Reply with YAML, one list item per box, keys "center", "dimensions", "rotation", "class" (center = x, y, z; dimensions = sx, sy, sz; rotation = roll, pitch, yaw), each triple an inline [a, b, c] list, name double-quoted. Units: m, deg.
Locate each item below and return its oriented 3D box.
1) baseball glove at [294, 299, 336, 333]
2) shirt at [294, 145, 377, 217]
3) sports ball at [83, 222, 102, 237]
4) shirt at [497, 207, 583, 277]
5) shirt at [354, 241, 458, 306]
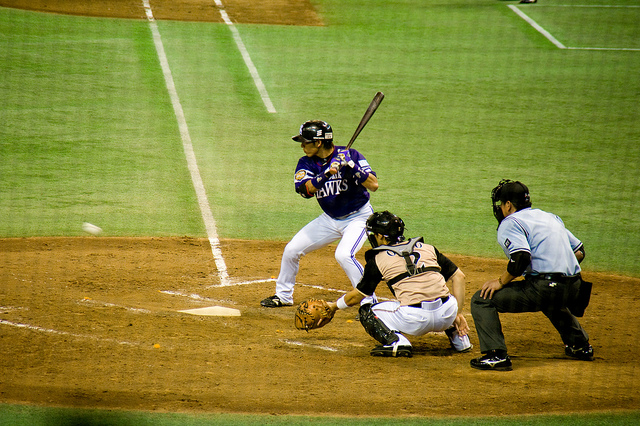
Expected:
- center: [0.012, 1.619, 17.944]
  dimensions: [0.722, 0.342, 0.437]
  rotation: [5, 6, 16]
  class: "baseball glove"
- center: [0.228, -0.502, 18.480]
  dimensions: [1.506, 0.825, 0.797]
  rotation: [-3, -2, -2]
  class: "shirt"
- center: [-4.169, 0.264, 20.634]
  dimensions: [0.335, 0.306, 0.349]
  rotation: [-5, -19, -2]
  class: "sports ball"
- center: [3.421, 0.517, 17.967]
  dimensions: [1.088, 0.976, 1.794]
  rotation: [-8, 1, 44]
  class: "shirt"
- center: [1.368, 0.938, 17.597]
  dimensions: [1.601, 0.990, 0.485]
  rotation: [-5, -22, 1]
  class: "shirt"
